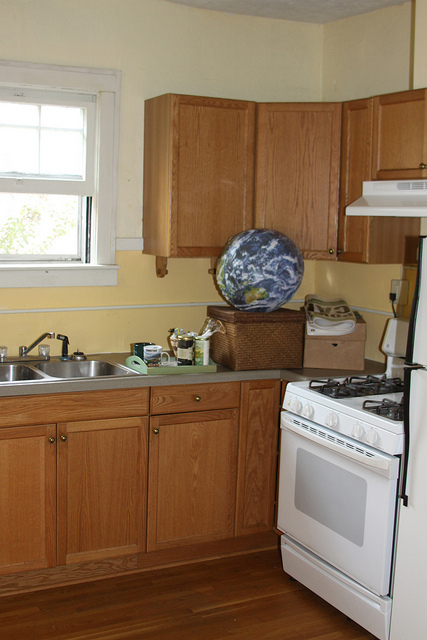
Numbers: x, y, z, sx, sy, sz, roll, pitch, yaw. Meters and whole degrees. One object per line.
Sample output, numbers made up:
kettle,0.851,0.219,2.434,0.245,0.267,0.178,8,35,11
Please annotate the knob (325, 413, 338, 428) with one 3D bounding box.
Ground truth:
knob,0.407,0.346,1.817,0.040,0.050,0.043,-4,11,-22

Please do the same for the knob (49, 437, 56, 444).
knob,-0.600,0.445,1.950,0.016,0.030,0.030,0,3,13

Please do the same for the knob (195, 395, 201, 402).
knob,-0.067,0.333,2.233,0.023,0.023,0.014,5,-1,-3

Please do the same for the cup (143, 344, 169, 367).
cup,-0.246,0.153,2.257,0.107,0.074,0.068,6,-1,-1

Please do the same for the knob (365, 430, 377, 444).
knob,0.482,0.359,1.615,0.027,0.037,0.012,0,-19,36

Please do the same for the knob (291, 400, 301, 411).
knob,0.315,0.332,2.048,0.010,0.038,0.029,10,-9,-38

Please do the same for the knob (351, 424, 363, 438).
knob,0.458,0.352,1.680,0.009,0.035,0.032,12,11,-23

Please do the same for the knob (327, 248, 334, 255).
knob,0.573,-0.338,2.577,0.030,0.031,0.008,-1,9,10
